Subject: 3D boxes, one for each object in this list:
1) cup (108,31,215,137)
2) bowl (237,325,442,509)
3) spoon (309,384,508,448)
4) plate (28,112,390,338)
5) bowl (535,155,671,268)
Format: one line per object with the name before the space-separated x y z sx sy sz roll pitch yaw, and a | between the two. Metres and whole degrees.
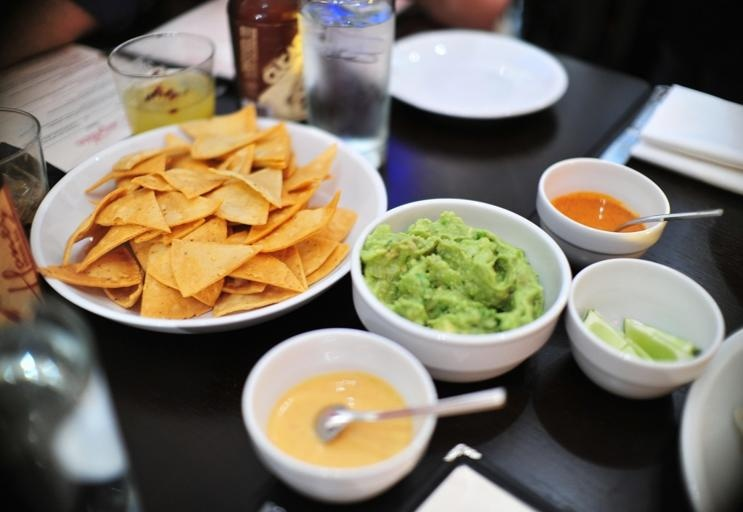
cup | -0.468 -0.368 1.266 0.239 0.185 0.212 27 48 27
bowl | -0.044 0.220 0.778 0.244 0.113 0.249 4 43 -4
spoon | 0.050 0.208 0.766 0.266 0.062 0.056 -9 56 -3
plate | -0.302 -0.101 1.035 0.541 0.426 0.404 -24 29 -35
bowl | 0.425 -0.092 1.043 0.222 0.132 0.228 1 40 -1
